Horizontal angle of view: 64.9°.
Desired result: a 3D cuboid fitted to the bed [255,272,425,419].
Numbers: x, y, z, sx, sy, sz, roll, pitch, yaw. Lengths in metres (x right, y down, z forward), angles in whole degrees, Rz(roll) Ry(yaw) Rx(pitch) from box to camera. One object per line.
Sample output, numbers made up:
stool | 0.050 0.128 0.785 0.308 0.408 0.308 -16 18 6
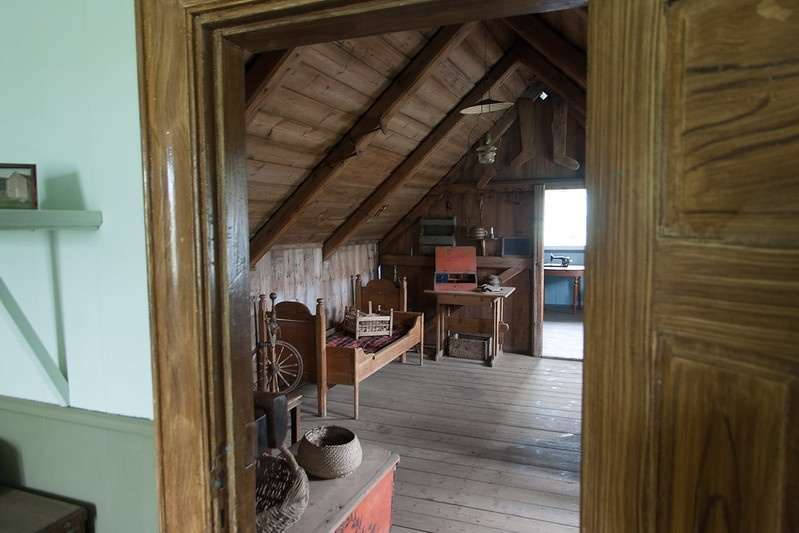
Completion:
bed | -0.378 0.562 5.343 0.823 0.847 1.498 6 10 25

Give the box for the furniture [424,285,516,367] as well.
furniture | 0.871 0.607 6.514 0.480 0.575 0.731 -14 0 -26

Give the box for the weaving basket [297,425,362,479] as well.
weaving basket | -0.294 0.781 2.636 0.279 0.140 0.294 2 10 -5

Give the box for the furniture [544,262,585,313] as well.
furniture | 2.210 0.254 8.551 0.627 0.441 0.592 2 1 33
